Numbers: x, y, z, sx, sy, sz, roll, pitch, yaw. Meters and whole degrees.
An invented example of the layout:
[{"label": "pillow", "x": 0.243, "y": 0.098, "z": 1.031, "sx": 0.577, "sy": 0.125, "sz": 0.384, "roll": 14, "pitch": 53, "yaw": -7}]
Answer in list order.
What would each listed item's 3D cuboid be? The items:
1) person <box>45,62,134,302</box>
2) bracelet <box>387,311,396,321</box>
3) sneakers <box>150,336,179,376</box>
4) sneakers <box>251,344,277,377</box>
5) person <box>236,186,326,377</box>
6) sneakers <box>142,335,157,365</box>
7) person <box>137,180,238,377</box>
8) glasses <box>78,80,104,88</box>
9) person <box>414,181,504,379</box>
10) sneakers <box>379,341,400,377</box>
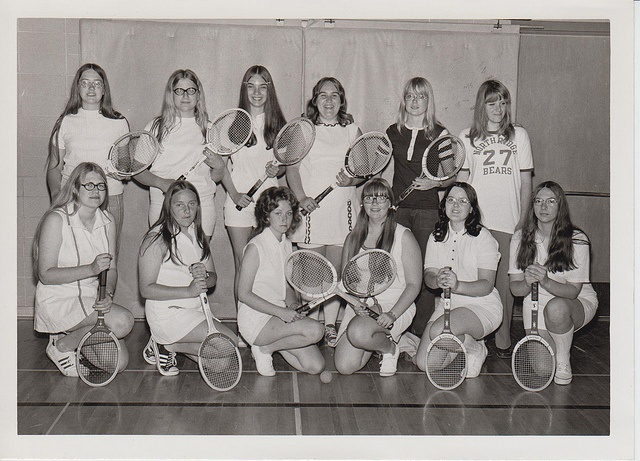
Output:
[{"label": "person", "x": -1.815, "y": -0.285, "z": 4.588, "sx": 0.763, "sy": 2.016, "sz": 0.536, "roll": 3, "pitch": 15, "yaw": -5}, {"label": "bracelet", "x": 0.504, "y": 0.598, "z": 3.916, "sx": 0.014, "sy": 0.056, "sz": 0.058, "roll": -31, "pitch": 14, "yaw": -4}, {"label": "sneakers", "x": -1.155, "y": 0.926, "z": 4.198, "sx": 0.120, "sy": 0.161, "sz": 0.351, "roll": 3, "pitch": 33, "yaw": -50}, {"label": "sneakers", "x": -0.409, "y": 0.949, "z": 4.140, "sx": 0.122, "sy": 0.272, "sz": 0.123, "roll": -36, "pitch": -13, "yaw": 13}, {"label": "person", "x": -0.295, "y": 0.386, "z": 4.046, "sx": 0.560, "sy": 1.371, "sz": 0.548, "roll": -6, "pitch": 16, "yaw": -27}, {"label": "sneakers", "x": -1.283, "y": 0.883, "z": 4.234, "sx": 0.106, "sy": 0.241, "sz": 0.103, "roll": 4, "pitch": -10, "yaw": -6}, {"label": "person", "x": -0.955, "y": 0.345, "z": 4.073, "sx": 0.738, "sy": 1.383, "sz": 0.464, "roll": 9, "pitch": 16, "yaw": 30}, {"label": "glasses", "x": -1.773, "y": -1.141, "z": 4.381, "sx": 0.173, "sy": 0.065, "sz": 0.039, "roll": -4, "pitch": 15, "yaw": -20}, {"label": "person", "x": 1.050, "y": 0.362, "z": 4.110, "sx": 0.600, "sy": 1.375, "sz": 0.520, "roll": 4, "pitch": 14, "yaw": 15}, {"label": "sneakers", "x": 0.526, "y": 0.939, "z": 4.160, "sx": 0.107, "sy": 0.103, "sz": 0.254, "roll": -4, "pitch": 44, "yaw": 32}]
